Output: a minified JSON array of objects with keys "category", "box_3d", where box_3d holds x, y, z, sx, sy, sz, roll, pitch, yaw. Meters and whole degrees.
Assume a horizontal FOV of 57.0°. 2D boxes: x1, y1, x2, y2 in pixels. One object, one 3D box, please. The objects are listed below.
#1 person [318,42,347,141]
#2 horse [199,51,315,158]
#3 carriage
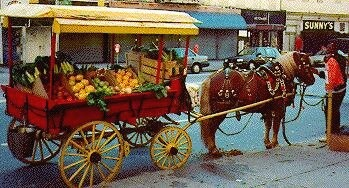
[{"category":"person","box_3d":[5.678,-0.210,11.464,0.980,3.220,0.528,-6,6,-38]},{"category":"horse","box_3d":[2.853,0.185,10.860,4.771,3.212,1.487,-2,0,-21]},{"category":"carriage","box_3d":[0.799,-0.569,12.220,13.075,4.896,3.828,-6,11,-35]}]
